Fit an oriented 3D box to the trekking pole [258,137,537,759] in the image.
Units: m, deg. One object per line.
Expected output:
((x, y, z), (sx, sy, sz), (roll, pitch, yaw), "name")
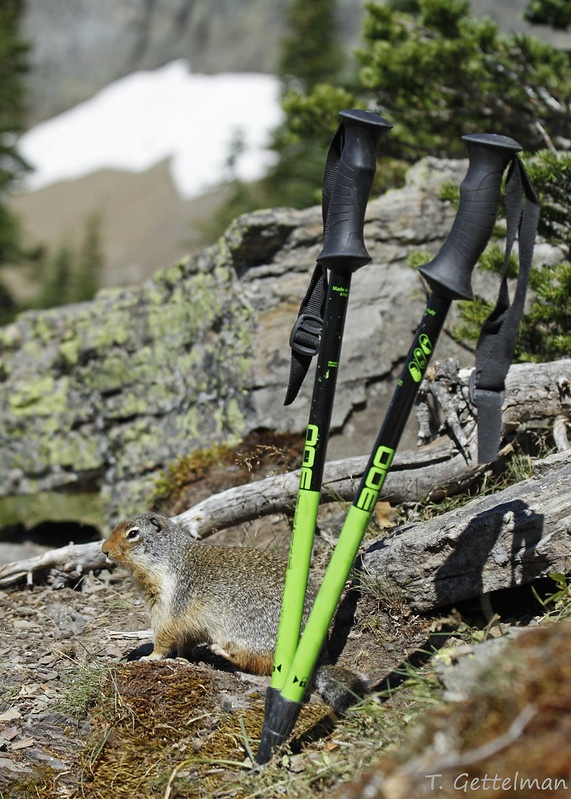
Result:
((0.357, 0.277, 4.010), (0.906, 2.753, 0.428), (24, 4, -12), "trekking pole")
